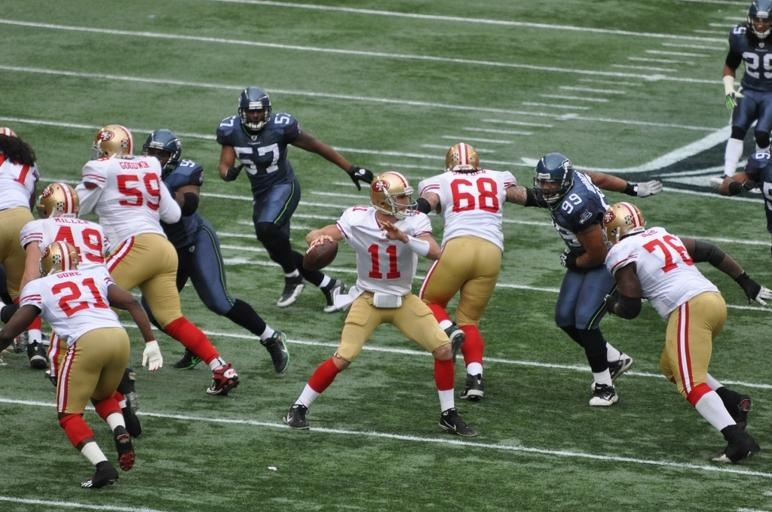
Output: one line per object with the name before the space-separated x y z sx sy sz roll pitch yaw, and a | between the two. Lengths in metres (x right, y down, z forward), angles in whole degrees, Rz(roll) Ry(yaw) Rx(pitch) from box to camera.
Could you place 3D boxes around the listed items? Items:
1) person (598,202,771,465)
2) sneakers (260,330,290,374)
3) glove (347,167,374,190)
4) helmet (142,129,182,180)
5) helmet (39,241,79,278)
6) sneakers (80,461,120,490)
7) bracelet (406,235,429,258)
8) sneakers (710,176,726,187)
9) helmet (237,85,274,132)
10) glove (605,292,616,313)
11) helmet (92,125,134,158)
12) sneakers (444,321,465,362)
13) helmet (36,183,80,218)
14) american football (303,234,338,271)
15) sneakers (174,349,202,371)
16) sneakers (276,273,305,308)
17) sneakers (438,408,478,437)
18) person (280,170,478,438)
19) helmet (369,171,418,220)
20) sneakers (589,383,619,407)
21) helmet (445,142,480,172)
person | 2.617 0.617 11.343 1.432 2.084 0.816 7 14 35
sneakers | -1.001 0.874 12.113 0.175 0.463 0.224 -20 -1 29
glove | -0.290 -0.805 13.812 0.182 0.236 0.513 -11 13 -23
helmet | -2.091 -0.982 12.231 0.358 0.356 0.431 5 13 7
helmet | -2.668 0.031 10.659 0.251 0.286 0.301 6 0 -36
sneakers | -2.323 1.769 10.538 0.416 0.178 0.143 -13 -17 36
bracelet | 0.265 -0.078 11.022 0.210 0.114 0.087 31 32 -1
sneakers | 3.954 -0.882 15.720 0.221 0.082 0.288 3 14 16
helmet | -1.320 -1.444 13.089 0.308 0.434 0.259 -3 12 -7
glove | 1.959 0.413 11.466 0.093 0.145 0.061 13 -18 34
helmet | -2.456 -1.019 11.791 0.348 0.263 0.267 7 9 25
sneakers | 0.596 0.764 11.528 0.131 0.374 0.160 -38 62 -20
helmet | -2.790 -0.460 11.215 0.280 0.266 0.329 6 11 -31
american football | -0.573 -0.035 11.199 0.214 0.317 0.187 43 11 -48
sneakers | -1.794 0.985 12.224 0.354 0.138 0.127 2 4 17
sneakers | -0.933 0.320 13.478 0.156 0.213 0.495 10 39 24
sneakers | 0.660 1.440 11.294 0.444 0.203 0.149 13 22 36
person | -0.019 0.431 11.236 1.498 2.242 0.404 -1 12 1
helmet | 0.046 -0.511 11.101 0.432 0.368 0.312 10 20 19
sneakers | 1.933 1.256 11.762 0.158 0.135 0.284 0 4 17
helmet | 0.687 -0.910 12.149 0.335 0.262 0.227 -7 10 -1
